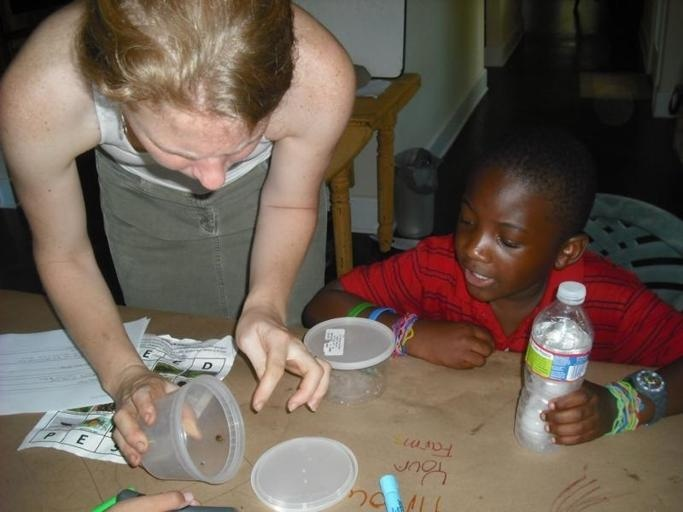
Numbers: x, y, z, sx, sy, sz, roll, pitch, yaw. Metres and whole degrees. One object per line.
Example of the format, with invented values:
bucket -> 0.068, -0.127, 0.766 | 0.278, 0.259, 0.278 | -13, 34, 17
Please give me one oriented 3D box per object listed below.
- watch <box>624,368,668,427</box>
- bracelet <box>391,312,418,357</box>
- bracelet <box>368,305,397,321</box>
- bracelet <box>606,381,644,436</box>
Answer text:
watch -> 0.601, 0.283, 1.148 | 0.058, 0.092, 0.094 | -2, 16, 15
bracelet -> 0.145, 0.182, 1.337 | 0.055, 0.030, 0.080 | -42, 6, 1
bracelet -> 0.102, 0.146, 1.461 | 0.039, 0.011, 0.040 | 4, 33, 9
bracelet -> 0.539, 0.289, 1.091 | 0.067, 0.087, 0.075 | 12, 14, 31
